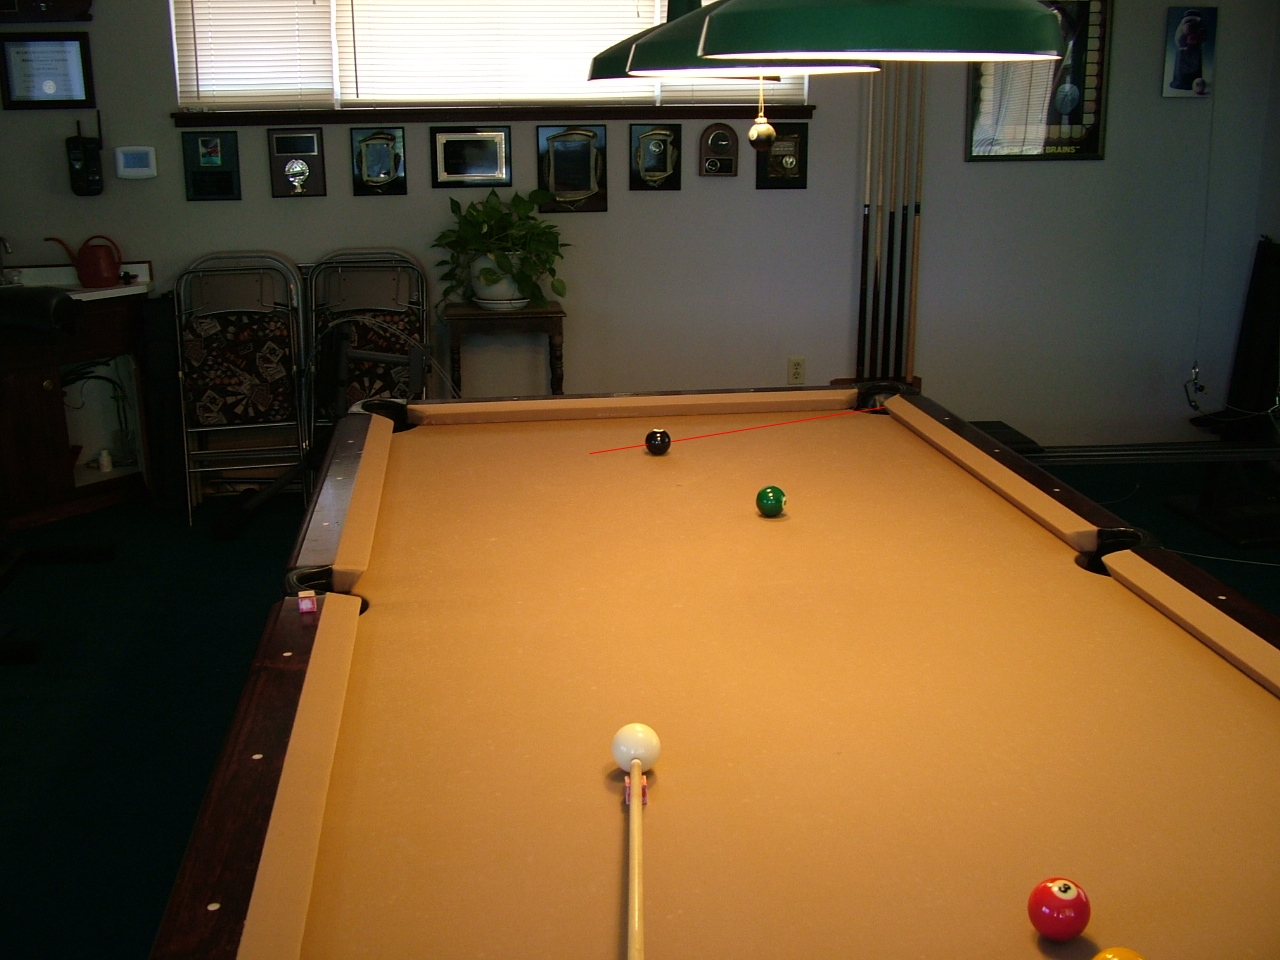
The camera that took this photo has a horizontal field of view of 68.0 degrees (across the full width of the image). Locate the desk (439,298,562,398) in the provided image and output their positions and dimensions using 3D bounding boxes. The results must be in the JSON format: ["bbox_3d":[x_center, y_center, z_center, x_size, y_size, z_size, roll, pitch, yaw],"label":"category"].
[{"bbox_3d":[-0.677,-0.620,4.857,0.531,0.582,0.429,-2,18,-11],"label":"desk"}]

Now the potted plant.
[{"bbox_3d":[-0.706,-1.169,4.759,0.576,0.469,0.645,0,22,1],"label":"potted plant"}]

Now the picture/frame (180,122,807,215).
[{"bbox_3d":[-0.498,-1.610,4.897,2.765,0.461,0.050,-3,15,-4],"label":"picture/frame"}]

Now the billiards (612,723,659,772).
[{"bbox_3d":[-0.005,0.348,1.240,0.055,0.064,0.059,0,-5,-1],"label":"billiards"}]

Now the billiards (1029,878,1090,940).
[{"bbox_3d":[0.451,0.461,1.014,0.055,0.067,0.062,-8,20,15],"label":"billiards"}]

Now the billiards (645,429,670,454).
[{"bbox_3d":[0.052,-0.100,2.561,0.057,0.063,0.062,2,30,5],"label":"billiards"}]

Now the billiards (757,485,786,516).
[{"bbox_3d":[0.296,0.051,2.137,0.056,0.071,0.059,-1,17,-3],"label":"billiards"}]

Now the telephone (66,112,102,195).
[{"bbox_3d":[-2.743,-1.575,4.659,0.195,0.360,0.100,-5,15,-11],"label":"telephone"}]
